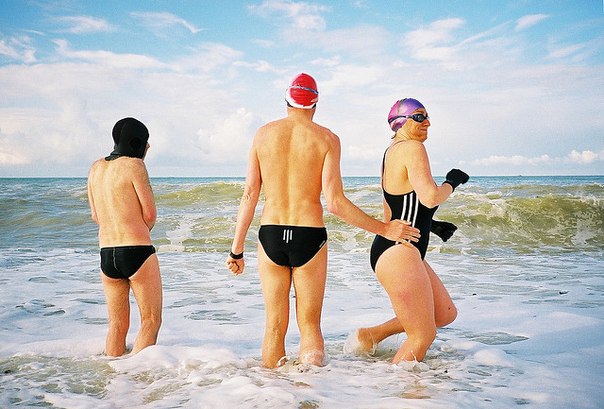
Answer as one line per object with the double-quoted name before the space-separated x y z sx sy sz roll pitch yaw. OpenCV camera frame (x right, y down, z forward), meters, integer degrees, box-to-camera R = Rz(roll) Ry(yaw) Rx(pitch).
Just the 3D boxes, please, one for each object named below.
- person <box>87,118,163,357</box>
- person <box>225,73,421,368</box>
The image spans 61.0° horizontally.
"person" -1.914 0.369 5.508 0.723 2.600 0.734 -2 9 -18
"person" -0.003 0.155 5.271 1.316 2.981 0.867 9 11 41
